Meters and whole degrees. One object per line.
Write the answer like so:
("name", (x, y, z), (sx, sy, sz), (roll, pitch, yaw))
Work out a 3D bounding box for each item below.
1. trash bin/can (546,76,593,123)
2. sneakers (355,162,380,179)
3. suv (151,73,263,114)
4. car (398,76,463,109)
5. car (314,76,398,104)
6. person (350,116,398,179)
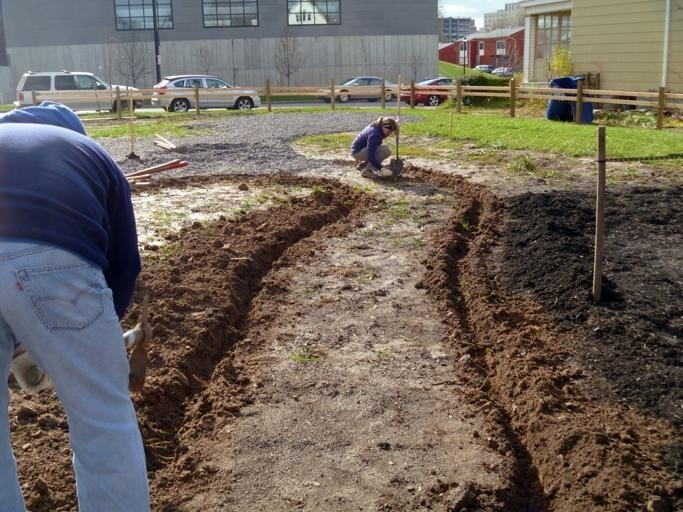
("trash bin/can", (6.264, -4.312, 18.153), (1.048, 1.597, 1.585), (5, -1, 23))
("sneakers", (0.416, -1.451, 11.164), (0.538, 0.259, 0.190), (17, 39, 32))
("suv", (-5.411, -6.353, 25.681), (3.781, 1.337, 2.305), (-5, 15, -16))
("car", (3.445, -6.514, 26.118), (1.994, 1.121, 5.552), (2, 15, 10))
("car", (0.886, -7.165, 28.448), (2.966, 1.106, 6.417), (0, 15, 5))
("person", (0.568, -1.840, 11.031), (0.529, 0.964, 1.055), (-6, 15, -17))
